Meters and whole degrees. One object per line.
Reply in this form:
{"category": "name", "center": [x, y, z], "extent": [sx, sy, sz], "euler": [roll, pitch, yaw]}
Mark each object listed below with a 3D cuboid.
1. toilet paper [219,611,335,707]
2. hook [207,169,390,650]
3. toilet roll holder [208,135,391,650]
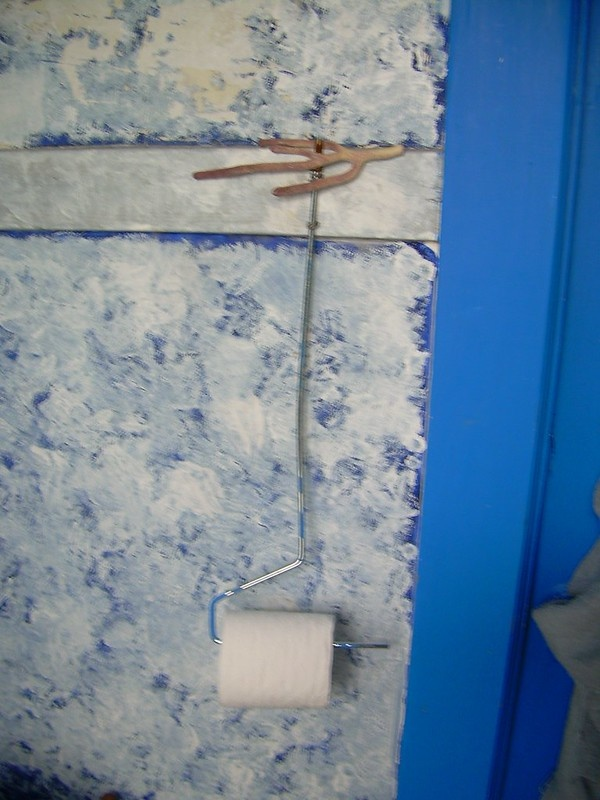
{"category": "toilet paper", "center": [-0.017, 0.388, 1.418], "extent": [0.205, 0.127, 0.146], "euler": [1, 46, 4]}
{"category": "hook", "center": [0.022, 0.023, 1.397], "extent": [0.342, 0.751, 0.034], "euler": [-4, -14, 34]}
{"category": "toilet roll holder", "center": [0.003, 0.005, 1.396], "extent": [0.309, 0.790, 0.308], "euler": [0, 21, 5]}
